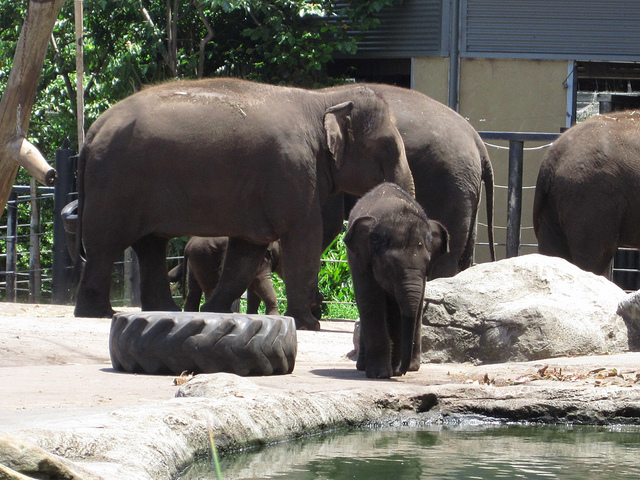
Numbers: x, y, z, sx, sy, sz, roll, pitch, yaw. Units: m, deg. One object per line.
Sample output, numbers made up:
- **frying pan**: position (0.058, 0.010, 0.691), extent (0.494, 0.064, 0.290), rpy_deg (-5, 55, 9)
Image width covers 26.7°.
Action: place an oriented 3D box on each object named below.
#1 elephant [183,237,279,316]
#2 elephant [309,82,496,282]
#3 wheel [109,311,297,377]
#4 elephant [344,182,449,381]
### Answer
- **elephant**: position (-1.044, 0.345, 14.722), extent (1.183, 0.889, 0.596), rpy_deg (0, 0, -7)
- **elephant**: position (0.903, -0.774, 13.893), extent (2.328, 1.658, 1.170), rpy_deg (3, 1, -12)
- **wheel**: position (-0.945, 0.826, 10.968), extent (1.516, 0.479, 0.407), rpy_deg (1, 1, -9)
- **elephant**: position (0.595, 0.299, 11.443), extent (0.728, 1.638, 1.834), rpy_deg (0, 9, -6)
